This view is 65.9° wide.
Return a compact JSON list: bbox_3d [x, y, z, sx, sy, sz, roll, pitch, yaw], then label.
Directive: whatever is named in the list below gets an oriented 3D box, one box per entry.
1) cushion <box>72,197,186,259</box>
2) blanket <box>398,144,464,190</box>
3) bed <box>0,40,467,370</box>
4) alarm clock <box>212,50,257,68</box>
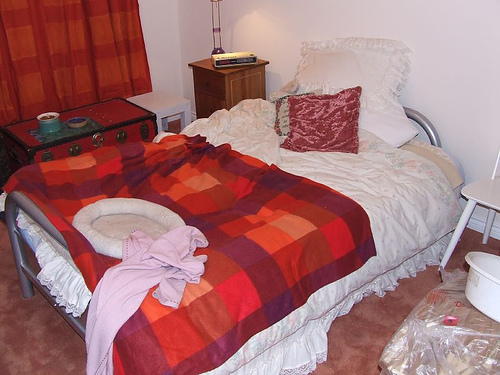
[{"bbox_3d":[-0.621,0.219,1.961,0.556,0.135,0.558,21,14,29],"label":"cushion"},{"bbox_3d":[1.271,-0.127,2.674,0.305,0.089,0.280,34,48,30],"label":"blanket"},{"bbox_3d":[0.094,0.003,2.333,2.459,1.416,1.680,-23,35,-39],"label":"bed"},{"bbox_3d":[-0.141,-1.220,3.666,0.433,0.103,0.355,-1,27,-3],"label":"alarm clock"}]
